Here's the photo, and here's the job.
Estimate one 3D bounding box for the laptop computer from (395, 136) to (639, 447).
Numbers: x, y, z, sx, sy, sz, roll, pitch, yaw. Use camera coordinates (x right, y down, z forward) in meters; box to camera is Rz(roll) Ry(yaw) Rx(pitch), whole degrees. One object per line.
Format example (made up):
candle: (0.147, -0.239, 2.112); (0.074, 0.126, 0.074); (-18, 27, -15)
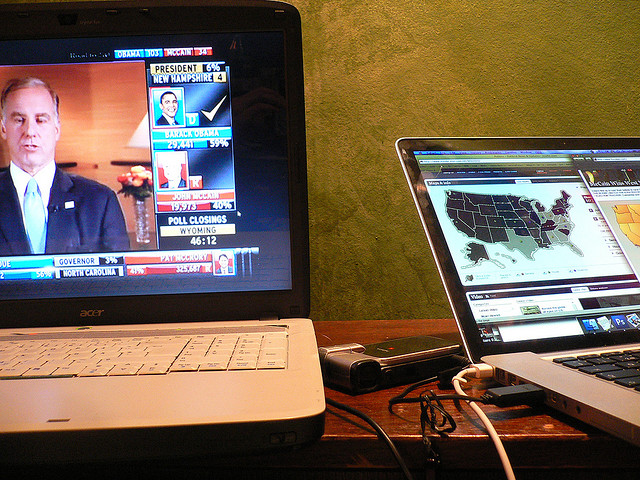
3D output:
laptop computer: (0.292, 0.039, 0.955); (0.575, 0.353, 0.398); (-2, 20, -11)

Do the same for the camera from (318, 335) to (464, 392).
camera: (0.107, 0.177, 0.881); (0.205, 0.040, 0.128); (-5, 5, -34)
